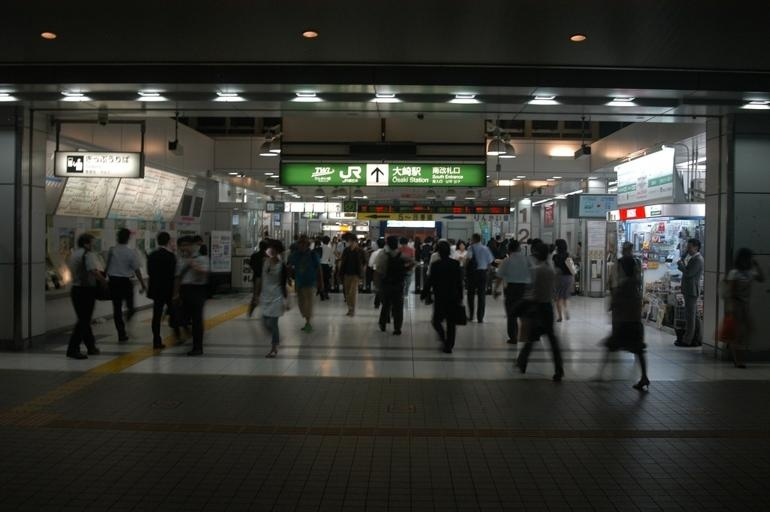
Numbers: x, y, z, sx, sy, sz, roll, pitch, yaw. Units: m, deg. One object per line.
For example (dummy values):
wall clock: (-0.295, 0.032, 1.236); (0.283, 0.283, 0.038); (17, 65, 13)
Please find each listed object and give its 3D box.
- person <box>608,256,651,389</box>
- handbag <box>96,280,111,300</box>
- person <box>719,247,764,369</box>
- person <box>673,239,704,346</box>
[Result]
person: (3.521, 0.942, 8.068); (0.609, 1.814, 0.617); (4, 11, 25)
handbag: (-4.736, 0.578, 9.482); (0.263, 0.209, 0.351); (12, -45, -21)
person: (5.677, 0.854, 9.009); (0.503, 1.959, 0.910); (7, 12, 38)
person: (5.719, 0.665, 10.584); (0.473, 1.975, 0.834); (5, 11, 27)
